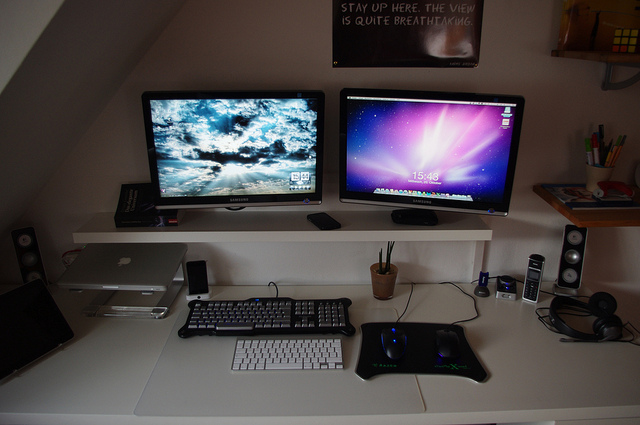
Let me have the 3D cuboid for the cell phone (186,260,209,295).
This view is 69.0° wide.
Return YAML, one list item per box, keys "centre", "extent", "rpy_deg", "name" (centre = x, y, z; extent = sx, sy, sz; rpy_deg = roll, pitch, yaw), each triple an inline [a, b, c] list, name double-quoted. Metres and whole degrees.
- centre: [-0.611, 0.333, 2.343]
  extent: [0.116, 0.193, 0.020]
  rpy_deg: [-7, -3, 12]
  name: "cell phone"

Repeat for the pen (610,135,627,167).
- centre: [1.417, -0.301, 2.218]
  extent: [0.020, 0.185, 0.020]
  rpy_deg: [11, 32, -7]
  name: "pen"

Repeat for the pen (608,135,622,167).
- centre: [1.386, -0.298, 2.198]
  extent: [0.019, 0.169, 0.018]
  rpy_deg: [6, 22, -16]
  name: "pen"

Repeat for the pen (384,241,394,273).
- centre: [0.336, 0.224, 2.302]
  extent: [0.014, 0.169, 0.022]
  rpy_deg: [20, 9, -6]
  name: "pen"

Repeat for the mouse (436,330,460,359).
- centre: [0.564, 0.568, 2.059]
  extent: [0.110, 0.045, 0.191]
  rpy_deg: [1, 25, 6]
  name: "mouse"

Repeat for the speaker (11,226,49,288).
- centre: [-1.459, 0.234, 2.353]
  extent: [0.138, 0.331, 0.122]
  rpy_deg: [-7, 15, -34]
  name: "speaker"

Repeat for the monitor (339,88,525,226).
- centre: [0.484, -0.269, 2.079]
  extent: [0.642, 0.476, 0.144]
  rpy_deg: [4, 25, 9]
  name: "monitor"

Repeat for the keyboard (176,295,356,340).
- centre: [-0.240, 0.498, 2.193]
  extent: [0.810, 0.141, 0.195]
  rpy_deg: [1, 12, 0]
  name: "keyboard"

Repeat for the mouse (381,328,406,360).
- centre: [0.322, 0.560, 2.044]
  extent: [0.110, 0.047, 0.174]
  rpy_deg: [2, 29, 8]
  name: "mouse"

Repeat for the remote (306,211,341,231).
- centre: [0.016, 0.043, 2.181]
  extent: [0.099, 0.055, 0.155]
  rpy_deg: [-6, 14, -31]
  name: "remote"

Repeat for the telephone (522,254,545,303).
- centre: [1.056, 0.324, 2.317]
  extent: [0.076, 0.233, 0.080]
  rpy_deg: [7, 13, 24]
  name: "telephone"
